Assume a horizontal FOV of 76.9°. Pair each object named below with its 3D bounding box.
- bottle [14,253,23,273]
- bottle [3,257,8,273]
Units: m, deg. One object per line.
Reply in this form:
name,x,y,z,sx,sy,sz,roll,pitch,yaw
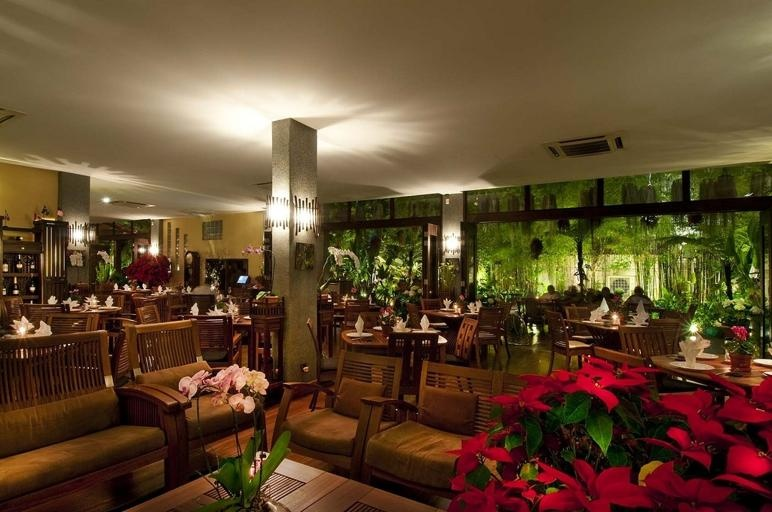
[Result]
bottle,-6.487,0.112,8.560,0.127,0.311,0.216,0,-2,-37
bottle,-6.582,0.143,8.408,0.062,0.267,0.208,0,-2,-33
